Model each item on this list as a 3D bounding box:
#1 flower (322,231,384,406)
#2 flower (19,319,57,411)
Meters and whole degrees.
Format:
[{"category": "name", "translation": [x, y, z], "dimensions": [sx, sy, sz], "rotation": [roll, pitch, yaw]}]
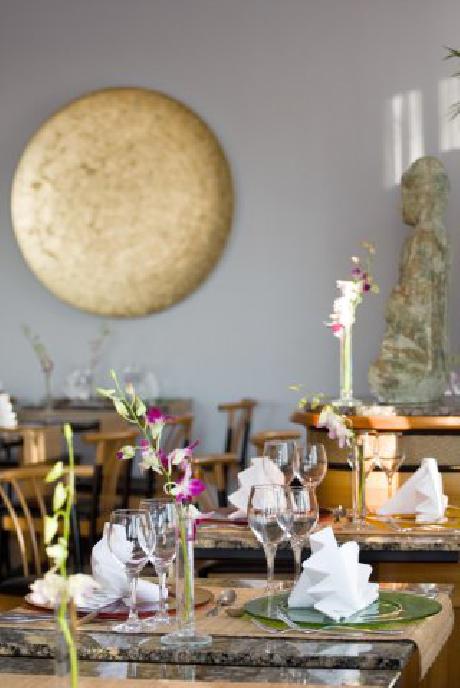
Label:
[{"category": "flower", "translation": [0.313, -0.055, 2.071], "dimensions": [0.162, 0.407, 0.133], "rotation": [-2, 4, -13]}, {"category": "flower", "translation": [-1.128, 0.103, 4.886], "dimensions": [0.119, 0.459, 0.262], "rotation": [-6, 6, -35]}]
